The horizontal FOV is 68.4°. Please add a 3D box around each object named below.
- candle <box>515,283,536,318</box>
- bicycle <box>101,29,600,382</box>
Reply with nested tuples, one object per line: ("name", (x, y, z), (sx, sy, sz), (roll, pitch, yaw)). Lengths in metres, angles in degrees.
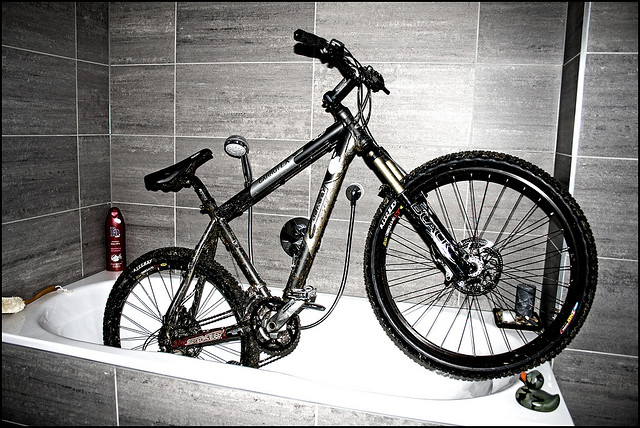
("candle", (1.076, 0.461, 2.489), (0.074, 0.076, 0.127), (23, -94, -4))
("bicycle", (-0.111, 0.189, 2.391), (2.741, 0.984, 1.495), (-11, -88, 8))
